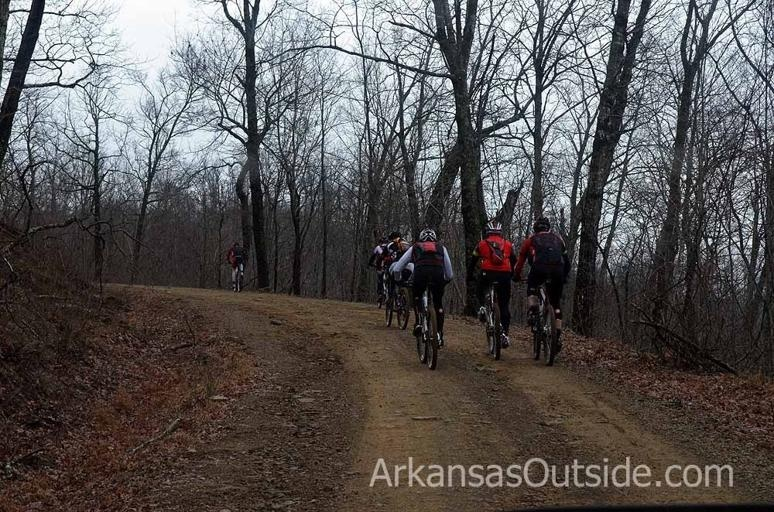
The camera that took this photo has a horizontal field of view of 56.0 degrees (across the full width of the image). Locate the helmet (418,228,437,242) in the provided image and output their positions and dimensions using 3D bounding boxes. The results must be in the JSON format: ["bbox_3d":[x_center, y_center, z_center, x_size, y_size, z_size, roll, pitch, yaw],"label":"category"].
[{"bbox_3d":[0.964,-0.481,16.985,0.294,0.359,0.383,2,-5,0],"label":"helmet"}]

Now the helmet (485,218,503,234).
[{"bbox_3d":[2.556,-0.691,17.589,0.404,0.522,0.534,1,-18,4],"label":"helmet"}]

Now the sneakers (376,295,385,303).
[{"bbox_3d":[-0.215,1.435,24.794,0.176,0.207,0.302,-1,-25,-10],"label":"sneakers"}]

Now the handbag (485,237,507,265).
[{"bbox_3d":[2.541,-0.112,16.910,0.312,0.534,0.199,-5,-19,-15],"label":"handbag"}]

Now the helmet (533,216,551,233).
[{"bbox_3d":[3.567,-0.731,16.805,0.281,0.379,0.375,5,14,3],"label":"helmet"}]
